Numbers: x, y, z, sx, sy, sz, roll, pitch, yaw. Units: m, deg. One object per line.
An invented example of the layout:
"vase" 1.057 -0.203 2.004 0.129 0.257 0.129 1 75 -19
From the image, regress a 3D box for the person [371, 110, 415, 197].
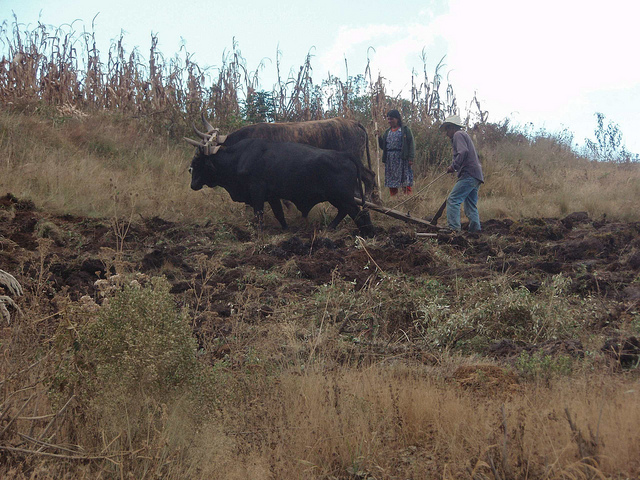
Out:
"person" 1.481 -1.654 13.807 0.739 1.553 0.861 3 2 -39

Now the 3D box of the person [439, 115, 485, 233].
"person" 2.385 -1.142 11.897 0.741 1.934 1.496 4 1 10

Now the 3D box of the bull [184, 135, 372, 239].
"bull" -0.659 -0.861 12.136 3.025 1.952 0.901 6 21 6
